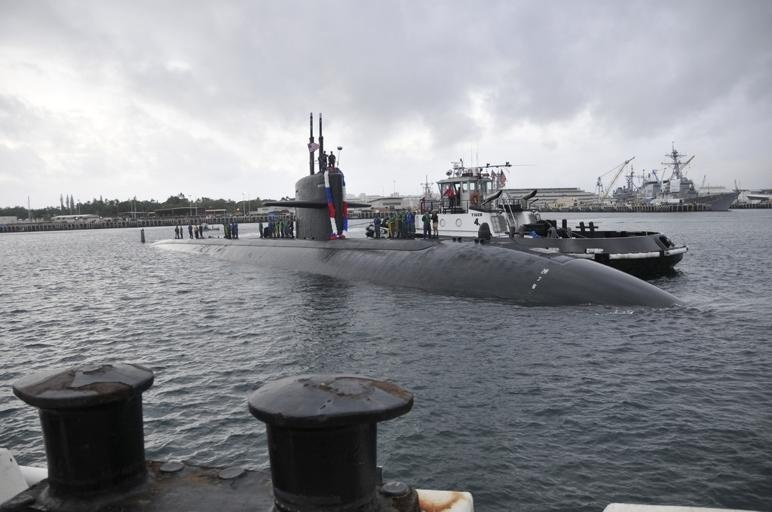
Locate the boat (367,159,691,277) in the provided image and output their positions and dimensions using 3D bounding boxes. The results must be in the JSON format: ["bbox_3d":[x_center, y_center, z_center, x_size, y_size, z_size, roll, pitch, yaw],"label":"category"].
[{"bbox_3d":[4.499,-1.703,22.703,13.295,3.544,4.843,3,4,27],"label":"boat"}]
